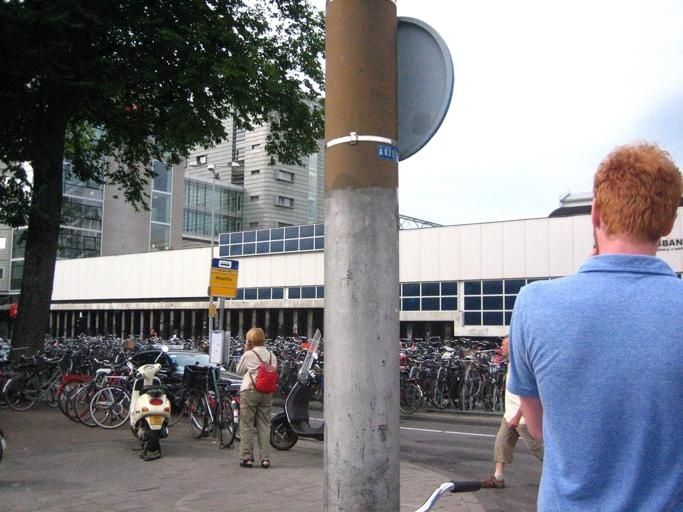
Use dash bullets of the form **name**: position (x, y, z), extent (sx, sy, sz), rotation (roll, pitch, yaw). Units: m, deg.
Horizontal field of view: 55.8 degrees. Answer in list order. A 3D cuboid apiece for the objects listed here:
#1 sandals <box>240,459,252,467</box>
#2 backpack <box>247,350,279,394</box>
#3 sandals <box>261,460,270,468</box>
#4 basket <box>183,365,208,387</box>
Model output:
- **sandals**: position (-1.224, 2.685, 8.378), extent (0.168, 0.103, 0.144), rotation (3, -9, -4)
- **backpack**: position (-1.005, 1.615, 8.685), extent (0.360, 0.557, 0.557), rotation (12, -17, -37)
- **sandals**: position (-0.984, 2.707, 8.414), extent (0.049, 0.068, 0.148), rotation (2, -1, 1)
- **basket**: position (-2.469, 2.081, 11.008), extent (0.391, 0.379, 0.378), rotation (3, 20, -16)
